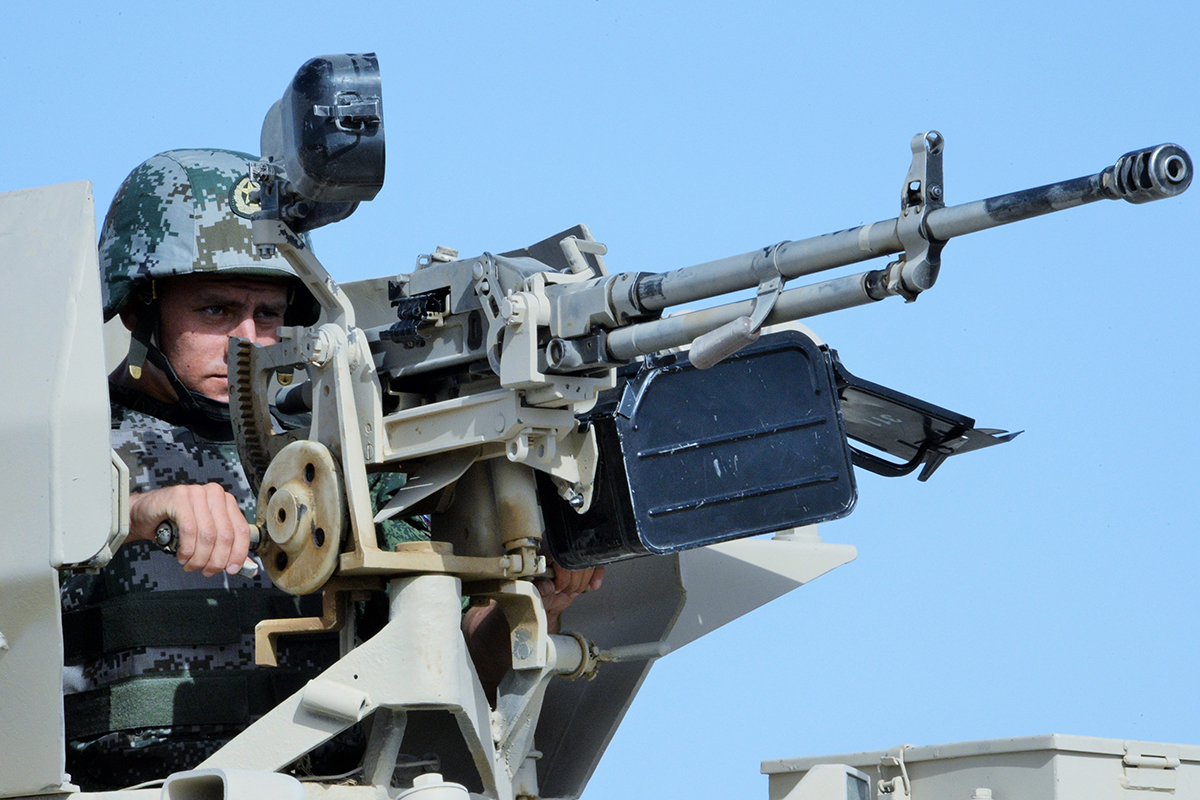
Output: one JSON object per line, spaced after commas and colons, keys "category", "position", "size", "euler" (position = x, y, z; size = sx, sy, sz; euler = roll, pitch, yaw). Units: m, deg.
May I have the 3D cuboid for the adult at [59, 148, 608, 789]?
{"category": "adult", "position": [-1.014, 0.425, 10.790], "size": [1.750, 2.521, 1.459], "euler": [11, -36, -41]}
